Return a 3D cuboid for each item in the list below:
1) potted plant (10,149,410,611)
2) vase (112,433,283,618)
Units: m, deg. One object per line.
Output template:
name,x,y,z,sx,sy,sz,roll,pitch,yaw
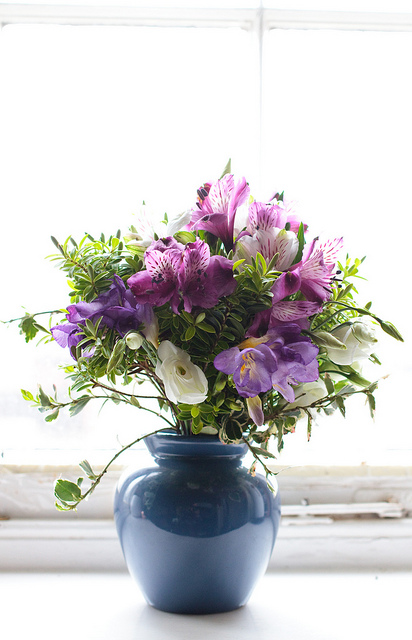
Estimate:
potted plant,-0.029,0.115,0.771,0.407,0.587,0.507,-1,2,-17
vase,-0.011,0.247,0.727,0.207,0.194,0.226,-8,-17,26
